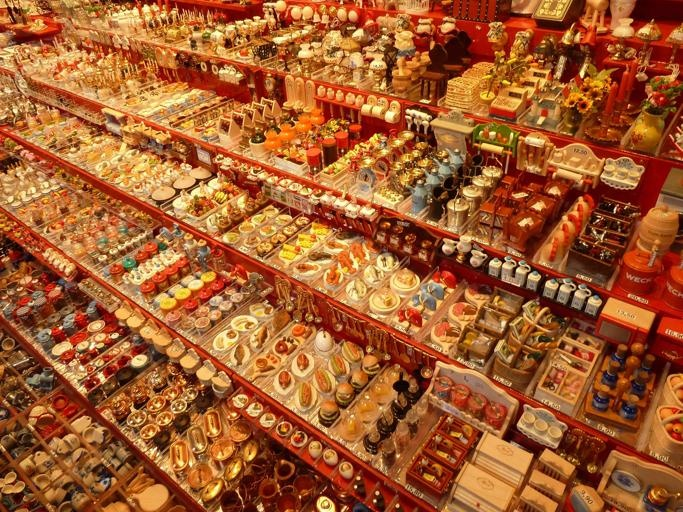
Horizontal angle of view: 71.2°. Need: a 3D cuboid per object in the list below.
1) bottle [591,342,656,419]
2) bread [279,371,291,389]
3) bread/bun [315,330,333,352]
[{"bbox_3d":[1.636,0.730,2.744,0.264,0.371,0.278,-6,52,8],"label":"bottle"},{"bbox_3d":[-0.426,0.919,3.548,0.079,0.036,0.108,-4,66,-5],"label":"bread"},{"bbox_3d":[-0.140,0.659,3.685,0.146,0.134,0.145,-3,47,-4],"label":"bread/bun"}]
